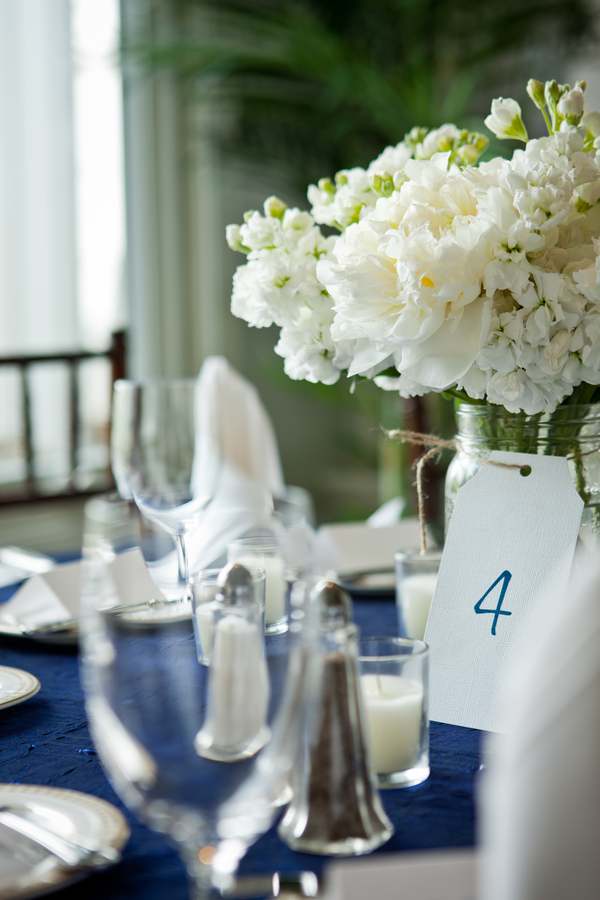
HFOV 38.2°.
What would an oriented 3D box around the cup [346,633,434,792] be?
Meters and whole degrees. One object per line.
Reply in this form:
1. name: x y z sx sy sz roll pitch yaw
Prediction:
1. cup: 0.035 0.155 0.523 0.079 0.083 0.078 2 -7 0
